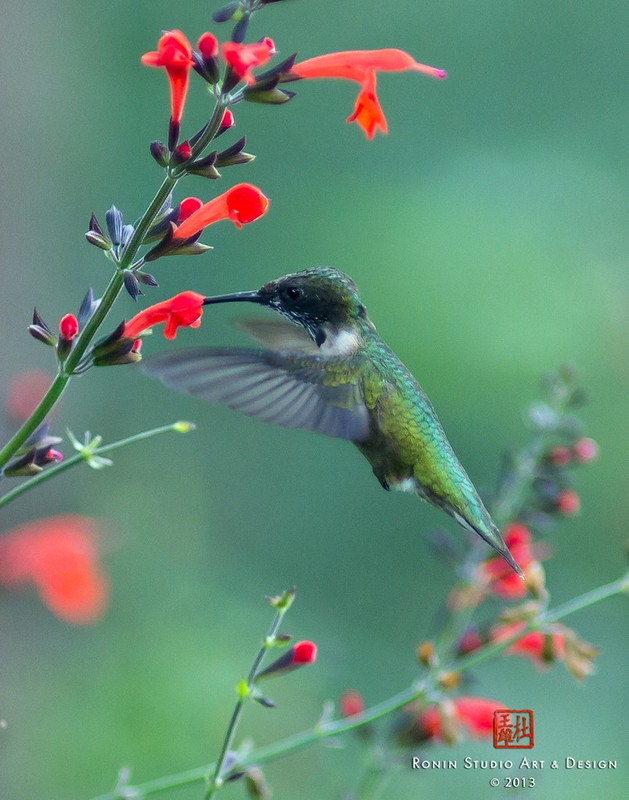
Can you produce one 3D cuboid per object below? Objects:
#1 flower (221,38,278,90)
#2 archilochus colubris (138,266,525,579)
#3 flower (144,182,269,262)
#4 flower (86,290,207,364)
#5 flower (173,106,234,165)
[{"bbox_3d":[-0.082,-0.476,1.497,0.065,0.037,0.083,-32,23,-7],"label":"flower"},{"bbox_3d":[0.063,-0.005,2.072,0.755,0.355,0.438,20,16,-9],"label":"archilochus colubris"},{"bbox_3d":[-0.193,-0.252,1.611,0.222,0.107,0.055,-16,67,11],"label":"flower"},{"bbox_3d":[-0.279,-0.109,1.706,0.258,0.097,0.049,-10,13,23],"label":"flower"},{"bbox_3d":[-0.184,-0.374,1.523,0.124,0.044,0.031,-26,84,18],"label":"flower"}]
